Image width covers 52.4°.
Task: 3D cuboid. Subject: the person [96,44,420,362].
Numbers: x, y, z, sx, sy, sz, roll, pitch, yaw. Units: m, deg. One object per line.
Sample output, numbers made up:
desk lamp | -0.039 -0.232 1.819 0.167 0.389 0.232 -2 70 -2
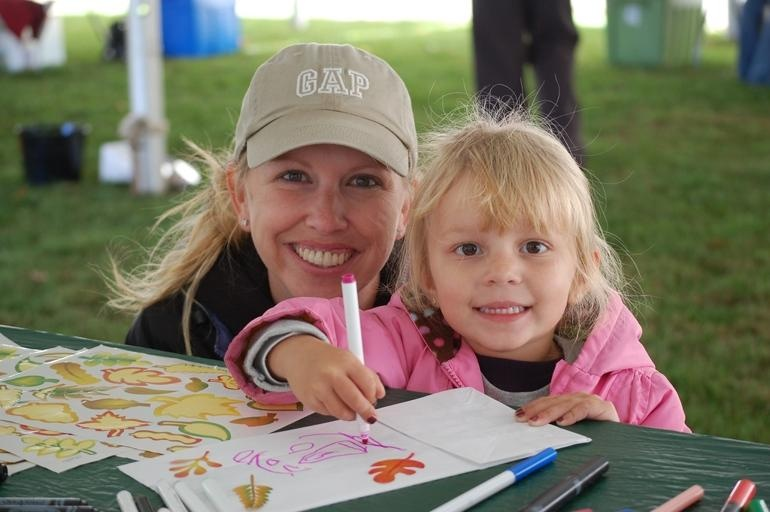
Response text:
person | -0.292 -0.110 1.956 0.538 0.899 0.567 0 2 -13
